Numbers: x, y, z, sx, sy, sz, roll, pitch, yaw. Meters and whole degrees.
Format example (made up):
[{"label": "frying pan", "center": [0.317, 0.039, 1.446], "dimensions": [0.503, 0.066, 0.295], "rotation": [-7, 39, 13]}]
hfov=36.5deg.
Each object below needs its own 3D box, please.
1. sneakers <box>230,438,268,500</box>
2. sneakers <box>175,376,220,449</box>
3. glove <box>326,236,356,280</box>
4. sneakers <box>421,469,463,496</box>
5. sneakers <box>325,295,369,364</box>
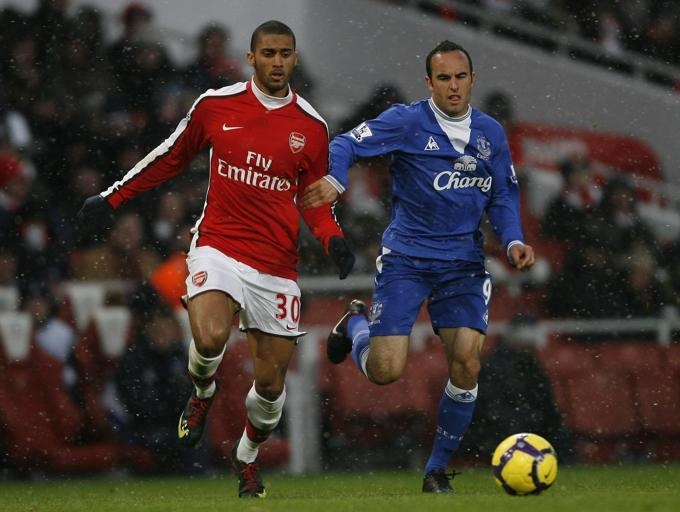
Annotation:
[{"label": "sneakers", "center": [-0.690, 1.697, 7.982], "dimensions": [0.159, 0.516, 0.204], "rotation": [-9, -17, -24]}, {"label": "sneakers", "center": [-1.112, 1.251, 8.044], "dimensions": [0.209, 0.639, 0.240], "rotation": [16, -6, -7]}, {"label": "glove", "center": [0.003, 0.037, 7.586], "dimensions": [0.193, 0.326, 0.457], "rotation": [4, 3, -1]}, {"label": "sneakers", "center": [0.765, 1.737, 7.972], "dimensions": [0.239, 0.168, 0.469], "rotation": [4, 3, 7]}, {"label": "sneakers", "center": [0.044, 0.695, 8.743], "dimensions": [0.218, 0.656, 0.252], "rotation": [24, -1, 23]}]
